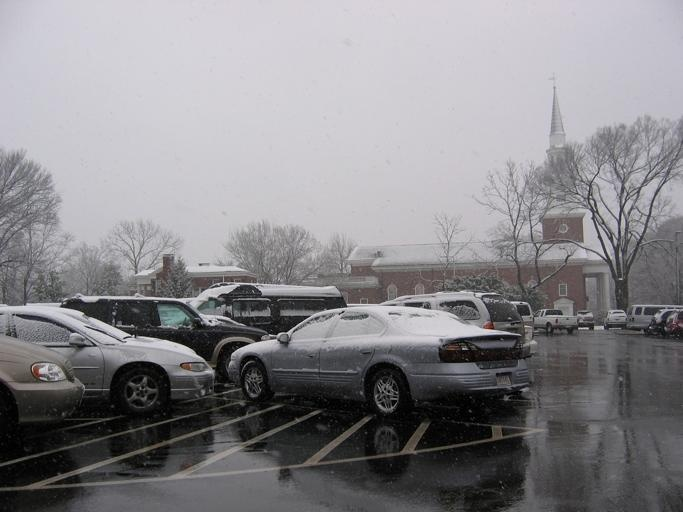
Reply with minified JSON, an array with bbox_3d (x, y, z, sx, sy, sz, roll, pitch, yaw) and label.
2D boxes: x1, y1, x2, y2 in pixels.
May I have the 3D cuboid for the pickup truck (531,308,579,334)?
[{"bbox_3d":[14.615,4.532,43.691,1.714,1.269,3.372,1,-2,-14],"label":"pickup truck"}]
